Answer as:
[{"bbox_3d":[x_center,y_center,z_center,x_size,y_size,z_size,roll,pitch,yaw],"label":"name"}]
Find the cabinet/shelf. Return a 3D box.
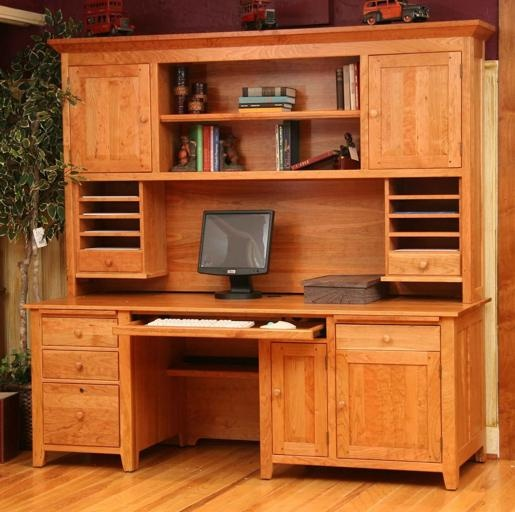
[{"bbox_3d":[0.077,-0.461,3.061,2.027,0.999,0.339,0,0,12],"label":"cabinet/shelf"}]

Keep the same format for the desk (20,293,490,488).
[{"bbox_3d":[-0.036,0.602,3.006,2.162,0.606,0.720,-1,-4,21],"label":"desk"}]

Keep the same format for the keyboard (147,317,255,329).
[{"bbox_3d":[-0.250,0.298,2.627,0.460,0.032,0.247,-1,-1,4],"label":"keyboard"}]

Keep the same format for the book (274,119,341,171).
[{"bbox_3d":[0.308,-0.564,3.176,0.379,0.329,0.252,0,2,10],"label":"book"}]

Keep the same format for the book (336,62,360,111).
[{"bbox_3d":[0.428,-0.815,2.986,0.067,0.224,0.159,-1,-2,-25],"label":"book"}]

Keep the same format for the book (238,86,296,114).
[{"bbox_3d":[0.041,-0.782,3.022,0.264,0.116,0.068,-1,-2,-5],"label":"book"}]
